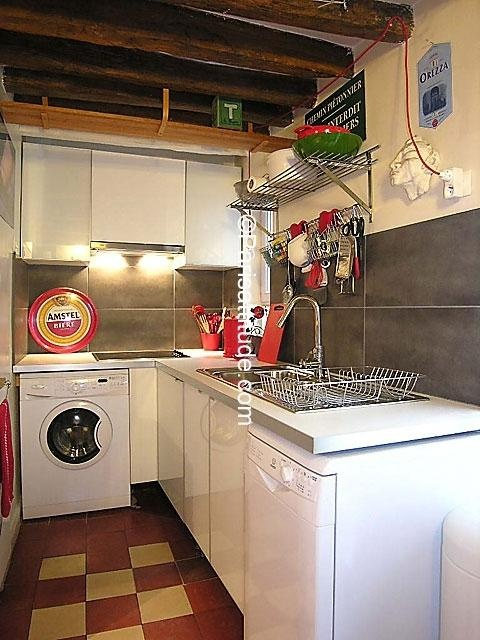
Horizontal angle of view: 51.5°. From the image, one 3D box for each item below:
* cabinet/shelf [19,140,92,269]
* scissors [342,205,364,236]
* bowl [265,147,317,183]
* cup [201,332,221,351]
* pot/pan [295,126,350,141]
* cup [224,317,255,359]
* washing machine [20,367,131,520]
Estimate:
[{"bbox_3d":[-1.053,-0.656,2.981,0.376,0.670,0.347,2,-3,-8],"label":"cabinet/shelf"},{"bbox_3d":[0.437,-0.375,1.922,0.038,0.118,0.085,7,-6,-41],"label":"scissors"},{"bbox_3d":[0.200,-0.652,2.087,0.137,0.076,0.185,-9,-10,42],"label":"bowl"},{"bbox_3d":[-0.198,0.150,3.342,0.114,0.091,0.113,-1,-3,0],"label":"cup"},{"bbox_3d":[0.279,-0.661,1.745,0.102,0.028,0.087,3,7,34],"label":"pot/pan"},{"bbox_3d":[-0.010,0.105,2.803,0.162,0.231,0.273,0,1,-1],"label":"cup"},{"bbox_3d":[-0.870,0.659,3.012,0.715,1.013,0.666,0,-2,-25],"label":"washing machine"}]
